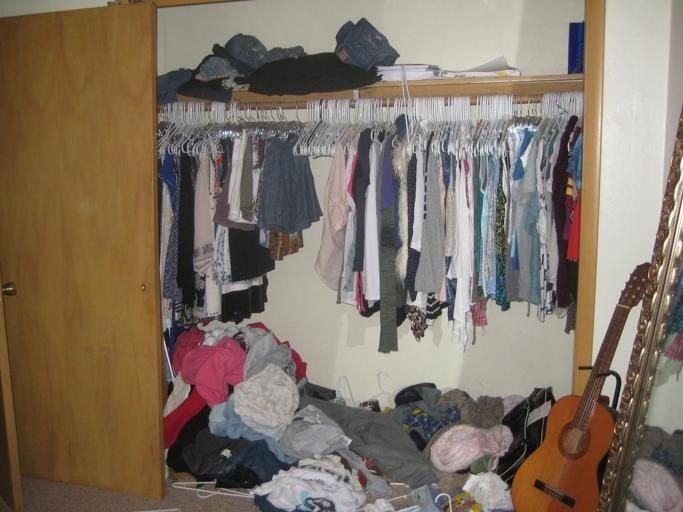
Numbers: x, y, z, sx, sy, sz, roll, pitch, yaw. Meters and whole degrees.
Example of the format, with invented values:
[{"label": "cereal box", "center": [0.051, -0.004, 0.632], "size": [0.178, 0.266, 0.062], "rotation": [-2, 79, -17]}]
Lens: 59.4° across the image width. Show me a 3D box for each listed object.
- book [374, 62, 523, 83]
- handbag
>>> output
[{"label": "book", "center": [0.555, -0.970, 3.181], "size": [0.734, 0.095, 0.133], "rotation": [2, 8, 6]}, {"label": "handbag", "center": [0.970, 0.931, 3.181], "size": [0.130, 0.458, 0.339], "rotation": [31, 3, -4]}]
